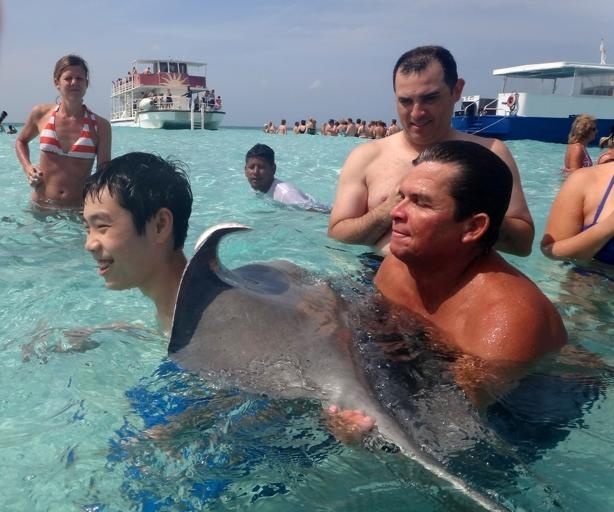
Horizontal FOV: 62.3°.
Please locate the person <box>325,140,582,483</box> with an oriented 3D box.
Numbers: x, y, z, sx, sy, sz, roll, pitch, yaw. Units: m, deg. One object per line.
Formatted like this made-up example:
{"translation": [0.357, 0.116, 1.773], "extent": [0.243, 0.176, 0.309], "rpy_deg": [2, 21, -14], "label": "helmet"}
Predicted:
{"translation": [0.840, -0.012, 2.499], "extent": [0.656, 1.072, 1.109], "rpy_deg": [-3, 17, -17], "label": "person"}
